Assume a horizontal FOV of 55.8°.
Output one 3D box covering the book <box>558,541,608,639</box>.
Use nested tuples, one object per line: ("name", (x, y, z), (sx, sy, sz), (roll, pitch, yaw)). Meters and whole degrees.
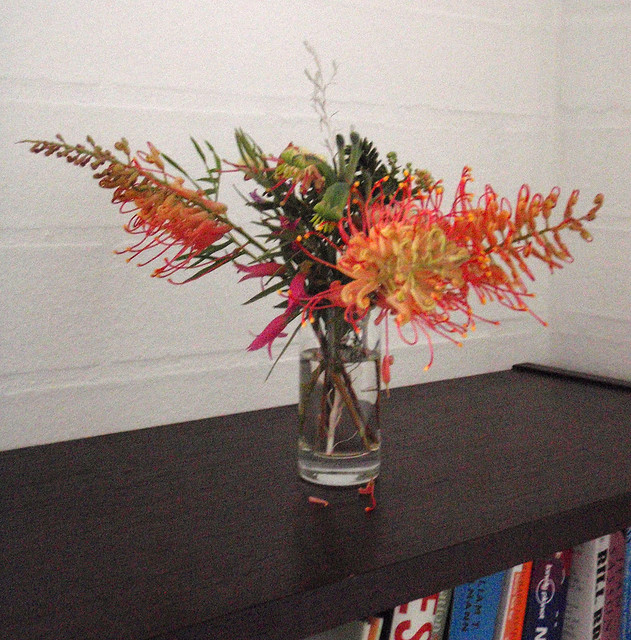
("book", (0.346, 0.343, 0.759), (0.056, 0.137, 0.022), (-3, 12, -16))
